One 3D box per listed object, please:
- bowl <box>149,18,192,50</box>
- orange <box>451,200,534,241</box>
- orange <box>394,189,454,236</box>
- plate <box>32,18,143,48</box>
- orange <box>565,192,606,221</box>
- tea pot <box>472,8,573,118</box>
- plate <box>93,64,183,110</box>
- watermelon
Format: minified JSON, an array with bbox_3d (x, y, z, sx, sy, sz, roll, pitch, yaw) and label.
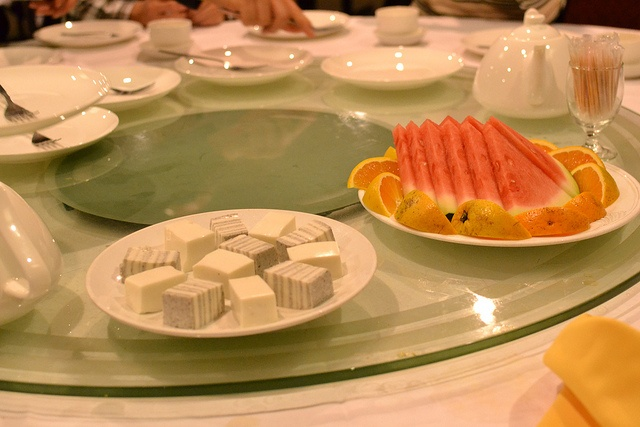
[{"bbox_3d":[-0.641,-0.761,2.165,0.160,0.099,0.164,1,30,0],"label":"bowl"},{"bbox_3d":[0.333,0.004,0.954,0.096,0.053,0.159,-22,18,-16],"label":"orange"},{"bbox_3d":[0.206,-0.014,0.992,0.085,0.058,0.130,-11,28,-23],"label":"orange"},{"bbox_3d":[-1.098,-0.868,2.395,0.316,0.043,0.307,5,31,-1],"label":"plate"},{"bbox_3d":[0.515,-0.014,0.958,0.063,0.029,0.061,6,30,10],"label":"orange"},{"bbox_3d":[0.567,-0.456,1.496,0.247,0.210,0.319,1,33,6],"label":"tea pot"},{"bbox_3d":[-0.598,-0.428,1.652,0.237,0.053,0.228,8,37,8],"label":"plate"},{"bbox_3d":[0.330,-0.163,1.055,0.223,0.105,0.297,-15,32,-16],"label":"watermelon"}]
